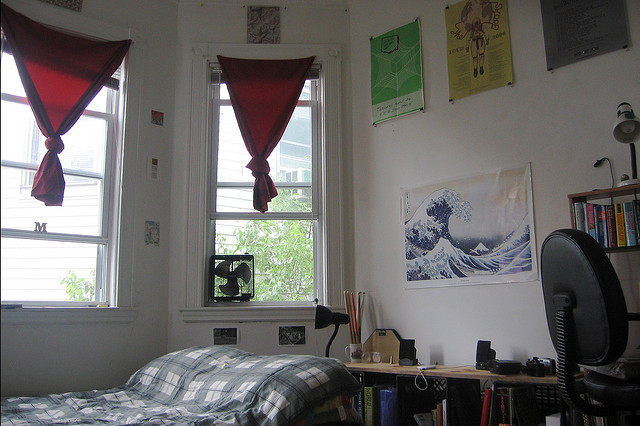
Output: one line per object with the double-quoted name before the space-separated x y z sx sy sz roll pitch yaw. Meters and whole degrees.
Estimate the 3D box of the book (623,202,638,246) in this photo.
"book" 2.144 0.073 3.277 0.049 0.220 0.217 -7 -15 17

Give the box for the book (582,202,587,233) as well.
"book" 1.906 0.026 3.420 0.012 0.185 0.062 -5 9 29

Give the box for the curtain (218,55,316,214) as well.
"curtain" -0.467 -0.862 4.743 0.786 1.569 0.440 -12 8 -16

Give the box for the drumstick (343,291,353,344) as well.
"drumstick" 0.260 0.982 4.431 0.046 0.627 0.044 11 -22 -43

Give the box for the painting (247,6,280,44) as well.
"painting" -0.598 -1.908 4.882 0.390 0.404 0.042 1 -9 -4

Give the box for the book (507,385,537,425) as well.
"book" 1.401 1.338 3.299 0.252 0.228 0.088 7 -12 -37

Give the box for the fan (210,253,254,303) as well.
"fan" -0.865 0.604 4.505 0.412 0.447 0.115 2 -3 -2

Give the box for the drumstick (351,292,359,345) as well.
"drumstick" 0.311 0.977 4.404 0.034 0.455 0.040 14 -29 -38
